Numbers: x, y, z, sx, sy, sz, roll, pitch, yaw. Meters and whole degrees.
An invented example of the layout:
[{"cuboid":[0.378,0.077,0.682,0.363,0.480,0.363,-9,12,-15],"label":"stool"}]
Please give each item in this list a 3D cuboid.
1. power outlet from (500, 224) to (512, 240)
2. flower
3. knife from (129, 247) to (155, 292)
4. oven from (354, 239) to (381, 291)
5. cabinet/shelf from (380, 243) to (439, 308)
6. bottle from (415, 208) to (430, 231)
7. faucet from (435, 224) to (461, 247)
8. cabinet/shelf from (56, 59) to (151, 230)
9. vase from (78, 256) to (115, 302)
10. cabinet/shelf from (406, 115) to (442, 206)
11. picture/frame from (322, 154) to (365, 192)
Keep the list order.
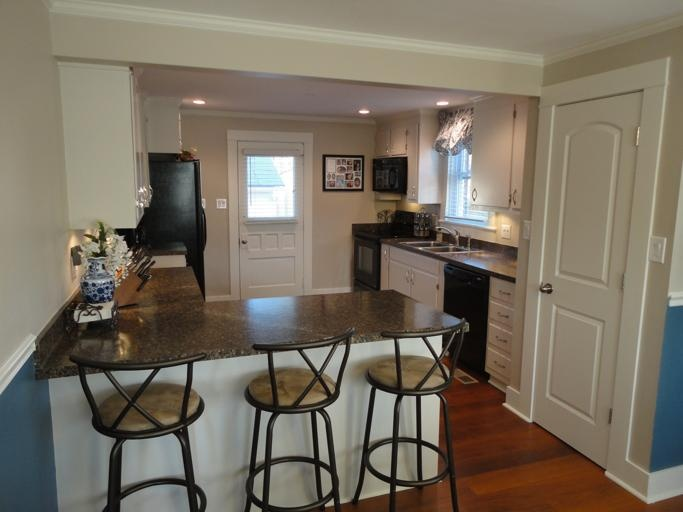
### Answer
[{"cuboid":[1.582,-0.235,5.090,0.017,0.151,0.143,-2,12,-18],"label":"power outlet"},{"cuboid":[-1.371,-0.026,3.041,0.192,0.239,0.195,-15,2,-27],"label":"flower"},{"cuboid":[-1.390,0.102,3.670,0.202,0.293,0.084,15,4,40],"label":"knife"},{"cuboid":[0.325,0.104,6.485,0.289,0.572,0.578,0,7,-15],"label":"oven"},{"cuboid":[0.682,0.177,5.101,0.199,0.300,0.582,-2,11,-21],"label":"cabinet/shelf"},{"cuboid":[0.963,-0.418,6.269,0.165,0.231,0.206,-1,11,-14],"label":"bottle"},{"cuboid":[1.168,-0.237,5.900,0.150,0.159,0.581,-1,12,-15],"label":"faucet"},{"cuboid":[-1.353,-0.622,2.949,0.335,0.849,0.885,-3,13,-13],"label":"cabinet/shelf"},{"cuboid":[-1.375,0.139,2.968,0.176,0.258,0.184,8,13,11],"label":"vase"},{"cuboid":[0.941,-1.108,5.993,0.425,0.998,0.250,4,11,10],"label":"cabinet/shelf"},{"cuboid":[-0.009,-1.086,6.821,0.463,0.407,0.036,-3,14,-18],"label":"picture/frame"}]
